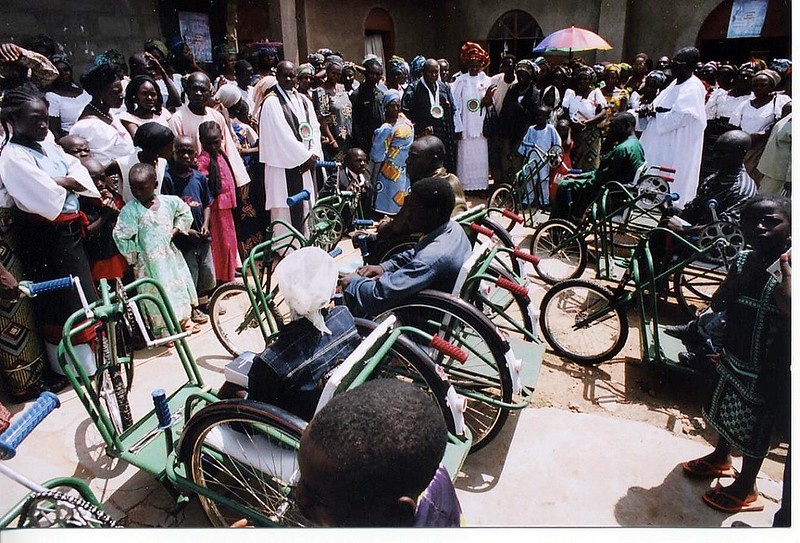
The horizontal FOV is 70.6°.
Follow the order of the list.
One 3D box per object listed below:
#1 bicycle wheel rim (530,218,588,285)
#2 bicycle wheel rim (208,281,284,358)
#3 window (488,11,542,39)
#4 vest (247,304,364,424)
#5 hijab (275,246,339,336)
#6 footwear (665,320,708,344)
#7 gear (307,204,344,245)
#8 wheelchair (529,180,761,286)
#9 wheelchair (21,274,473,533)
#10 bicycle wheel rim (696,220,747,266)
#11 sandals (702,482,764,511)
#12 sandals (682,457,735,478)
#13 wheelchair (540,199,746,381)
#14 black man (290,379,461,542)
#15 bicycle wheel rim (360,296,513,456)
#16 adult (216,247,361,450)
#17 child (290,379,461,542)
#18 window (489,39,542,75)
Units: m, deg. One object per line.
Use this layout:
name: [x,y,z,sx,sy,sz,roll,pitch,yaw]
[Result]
bicycle wheel rim: [1.821,-0.243,6.590,0.161,0.776,0.772,-7,-6,-42]
bicycle wheel rim: [-1.340,0.423,4.892,0.556,0.555,0.167,-29,-2,34]
window: [2.899,-6.236,14.224,1.437,0.691,0.176,18,30,39]
vest: [-0.525,0.548,3.301,0.546,0.437,0.297,-25,44,-34]
hijab: [-0.623,0.084,3.453,0.456,0.428,0.358,16,25,3]
footwear: [2.478,0.523,4.915,0.103,0.224,0.310,-11,26,-18]
gear: [-0.663,-0.433,5.170,0.360,0.361,0.135,1,10,43]
wheelchair: [2.512,-0.476,6.477,2.149,1.223,1.073,-1,6,-10]
wheelchair: [-1.023,0.934,4.136,2.564,1.635,1.606,21,29,12]
bicycle wheel rim: [2.656,-0.253,4.658,0.420,0.430,0.113,5,22,43]
sandals: [2.265,1.533,3.853,0.331,0.111,0.175,-1,27,16]
sandals: [2.206,1.403,4.069,0.341,0.095,0.142,1,39,12]
wheelchair: [2.123,0.131,5.194,1.976,1.282,1.161,-4,26,7]
black man: [-0.079,1.016,2.979,0.898,0.902,0.593,-3,23,-5]
bicycle wheel rim: [0.331,0.638,4.486,1.246,1.154,0.867,14,26,-8]
adult: [-0.718,0.486,3.735,0.825,1.540,0.807,24,37,29]
child: [-0.086,1.008,2.963,0.878,0.885,0.602,-3,24,-7]
window: [2.987,-5.602,14.619,1.390,0.996,0.039,3,48,13]
